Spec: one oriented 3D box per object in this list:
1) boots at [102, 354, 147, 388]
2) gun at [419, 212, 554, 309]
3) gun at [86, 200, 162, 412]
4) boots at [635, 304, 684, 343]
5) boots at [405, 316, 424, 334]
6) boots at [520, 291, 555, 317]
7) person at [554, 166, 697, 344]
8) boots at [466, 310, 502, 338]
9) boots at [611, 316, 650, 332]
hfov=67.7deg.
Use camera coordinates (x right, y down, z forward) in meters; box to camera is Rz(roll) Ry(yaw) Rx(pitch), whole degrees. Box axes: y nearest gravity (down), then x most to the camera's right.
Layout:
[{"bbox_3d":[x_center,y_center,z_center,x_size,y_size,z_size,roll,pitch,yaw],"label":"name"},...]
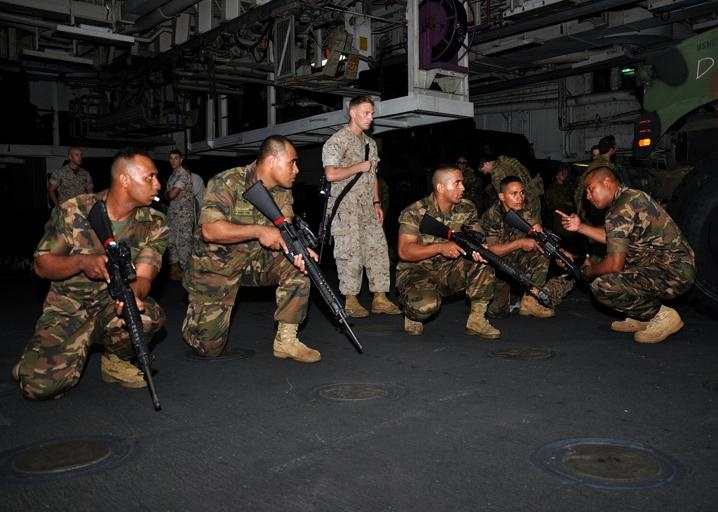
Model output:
[{"bbox_3d":[-1.839,0.912,4.188,0.369,0.110,0.245,17,4,23],"label":"boots"},{"bbox_3d":[1.325,0.028,5.624,1.694,0.479,0.215,31,55,23],"label":"gun"},{"bbox_3d":[-1.727,0.342,3.922,0.241,1.581,0.524,-11,-19,-46],"label":"gun"},{"bbox_3d":[2.842,0.637,5.066,0.524,0.303,0.203,-6,11,-23],"label":"boots"},{"bbox_3d":[0.550,0.703,5.480,0.221,0.157,0.145,1,2,2],"label":"boots"},{"bbox_3d":[2.024,0.582,6.191,0.510,0.280,0.186,-1,7,18],"label":"boots"},{"bbox_3d":[2.640,-0.029,5.092,0.967,1.617,0.524,4,12,27],"label":"person"},{"bbox_3d":[1.319,0.679,5.347,0.449,0.248,0.171,4,9,31],"label":"boots"},{"bbox_3d":[2.741,0.687,5.428,0.245,0.073,0.146,2,10,39],"label":"boots"}]
